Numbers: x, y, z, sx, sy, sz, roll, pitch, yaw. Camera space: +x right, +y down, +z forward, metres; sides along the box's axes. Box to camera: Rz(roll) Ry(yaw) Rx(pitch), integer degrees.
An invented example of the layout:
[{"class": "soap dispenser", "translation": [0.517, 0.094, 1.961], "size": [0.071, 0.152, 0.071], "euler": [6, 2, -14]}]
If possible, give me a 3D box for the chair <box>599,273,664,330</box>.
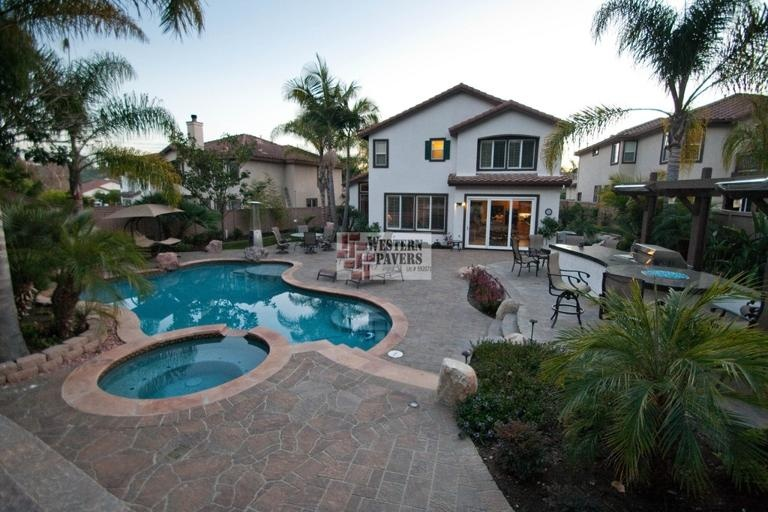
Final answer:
[{"class": "chair", "translation": [4.909, 0.867, 8.890], "size": [1.019, 0.700, 1.052], "euler": [-3, 8, -5]}]
